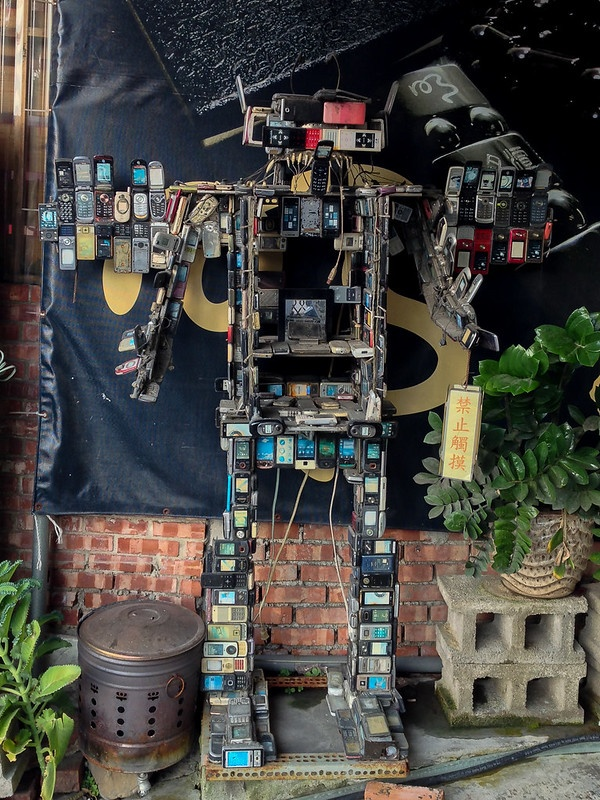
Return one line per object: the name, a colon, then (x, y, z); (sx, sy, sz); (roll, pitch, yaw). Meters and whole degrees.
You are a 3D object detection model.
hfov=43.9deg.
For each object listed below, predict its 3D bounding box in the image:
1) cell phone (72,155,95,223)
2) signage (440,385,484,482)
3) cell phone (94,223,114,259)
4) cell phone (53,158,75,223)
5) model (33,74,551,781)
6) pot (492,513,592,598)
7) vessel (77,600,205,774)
cell phone: (-0.755, -0.723, 2.601); (0.072, 0.217, 0.053); (-5, 13, -15)
signage: (0.536, 0.110, 2.487); (0.130, 0.323, 0.071); (0, 12, 9)
cell phone: (-0.699, -0.562, 2.662); (0.068, 0.109, 0.028); (1, 14, -9)
cell phone: (-0.821, -0.720, 2.602); (0.066, 0.213, 0.045); (-5, 13, -15)
model: (0.055, 0.024, 2.688); (1.779, 2.460, 0.957); (-5, 13, -16)
pot: (0.927, 0.579, 2.903); (0.363, 0.257, 0.363); (0, -1, 0)
vessel: (-0.491, 0.955, 2.691); (0.537, 0.466, 0.539); (5, 4, 4)
